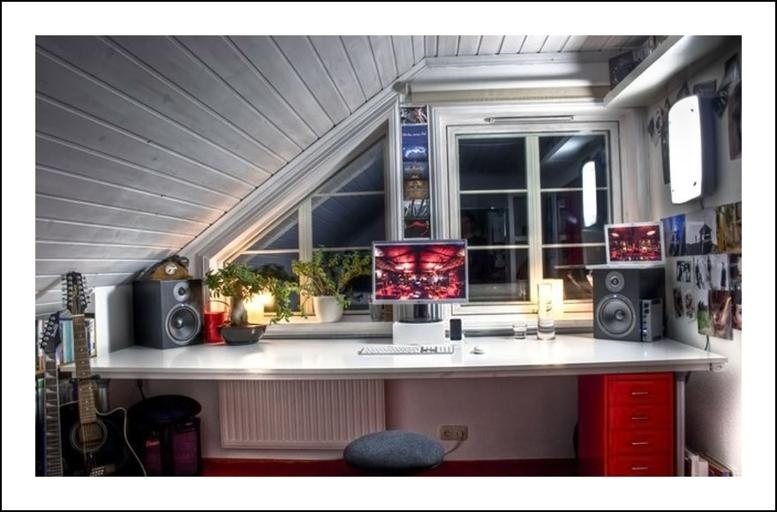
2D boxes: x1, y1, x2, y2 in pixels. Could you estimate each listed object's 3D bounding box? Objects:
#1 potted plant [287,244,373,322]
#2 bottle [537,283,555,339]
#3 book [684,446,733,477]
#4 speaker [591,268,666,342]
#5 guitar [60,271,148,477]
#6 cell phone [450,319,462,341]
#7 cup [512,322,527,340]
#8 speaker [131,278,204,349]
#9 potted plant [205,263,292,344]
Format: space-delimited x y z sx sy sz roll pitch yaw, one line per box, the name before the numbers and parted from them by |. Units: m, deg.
potted plant | -0.405 0.156 4.056 0.582 0.544 0.500 -2 3 -1
bottle | 1.030 0.349 3.620 0.122 0.350 0.278 -4 -3 15
book | 1.732 1.113 3.024 0.164 0.043 0.168 0 0 3
speaker | 1.508 0.290 3.439 0.357 0.438 0.361 1 -1 -28
guitar | -1.677 0.698 3.216 0.420 1.219 0.264 -2 -3 -30
cell phone | 0.426 0.457 3.507 0.074 0.136 0.070 -3 -3 2
cup | 0.850 0.477 3.571 0.076 0.102 0.086 -4 -3 10
speaker | -1.486 0.366 3.680 0.422 0.432 0.410 -2 -2 -2
potted plant | -1.036 0.314 3.725 0.396 0.527 0.628 -9 -6 12
